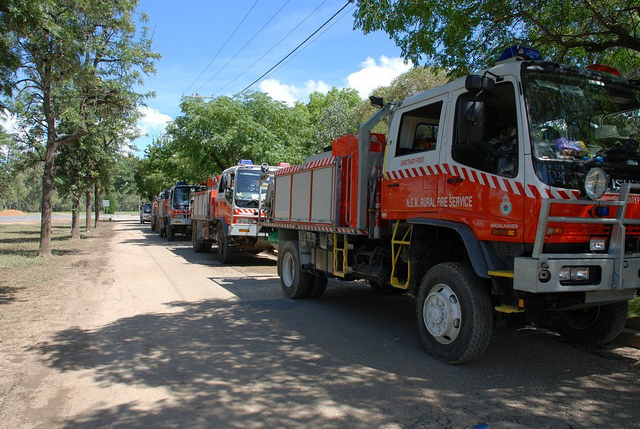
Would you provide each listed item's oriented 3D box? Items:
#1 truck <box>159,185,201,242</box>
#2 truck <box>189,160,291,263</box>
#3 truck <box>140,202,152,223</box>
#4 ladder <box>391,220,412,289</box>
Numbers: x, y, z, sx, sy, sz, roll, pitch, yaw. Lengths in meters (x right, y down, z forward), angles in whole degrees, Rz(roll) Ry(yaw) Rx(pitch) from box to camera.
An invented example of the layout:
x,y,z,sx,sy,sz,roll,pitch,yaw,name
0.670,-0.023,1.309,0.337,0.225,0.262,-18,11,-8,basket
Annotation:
x,y,z,sx,sy,sz,roll,pitch,yaw,name
-8.207,-0.241,29.471,2.266,2.986,6.241,2,-4,-29,truck
-3.572,-0.148,20.149,3.026,3.627,7.847,2,-2,-25,truck
-22.317,-0.275,58.884,1.613,2.320,4.458,2,-4,-27,truck
1.453,0.599,8.387,0.327,1.369,0.396,5,18,20,ladder
